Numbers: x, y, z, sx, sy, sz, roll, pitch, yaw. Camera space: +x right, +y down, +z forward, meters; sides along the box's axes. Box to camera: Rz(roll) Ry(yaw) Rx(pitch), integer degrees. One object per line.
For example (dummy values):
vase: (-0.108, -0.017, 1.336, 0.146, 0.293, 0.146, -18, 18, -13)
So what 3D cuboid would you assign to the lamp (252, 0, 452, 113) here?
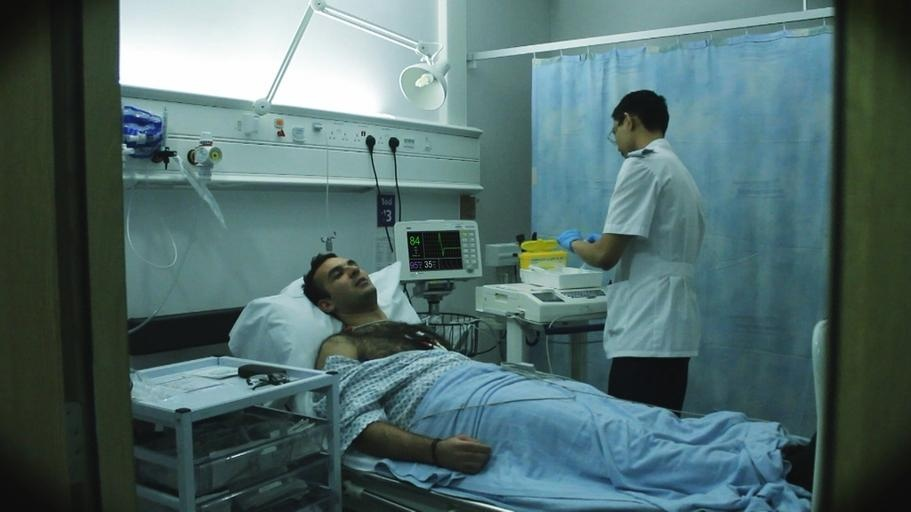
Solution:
lamp: (-0.440, -0.875, 3.288, 0.748, 0.422, 0.346, -3, 4, -23)

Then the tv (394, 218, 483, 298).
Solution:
tv: (-0.141, 0.000, 3.798, 0.577, 0.378, 0.319, 1, -7, -28)

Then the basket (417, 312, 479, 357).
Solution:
basket: (-0.006, 0.356, 3.608, 0.273, 0.118, 0.258, 1, -1, 3)

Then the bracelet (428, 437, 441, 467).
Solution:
bracelet: (-0.070, 0.687, 2.596, 0.033, 0.088, 0.037, -1, 4, 16)
